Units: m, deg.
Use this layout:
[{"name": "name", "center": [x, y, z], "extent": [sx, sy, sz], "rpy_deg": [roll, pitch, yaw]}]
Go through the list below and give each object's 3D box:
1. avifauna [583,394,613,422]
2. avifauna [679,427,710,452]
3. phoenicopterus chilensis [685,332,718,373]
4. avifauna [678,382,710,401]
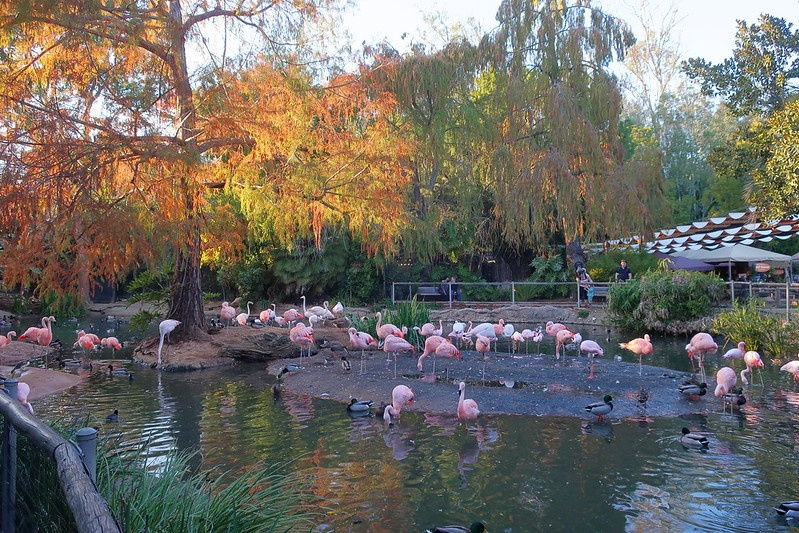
[{"name": "avifauna", "center": [4.543, 3.195, 17.254], "extent": [0.682, 0.621, 0.388], "rpy_deg": [0, -2, 0]}, {"name": "avifauna", "center": [6.100, 3.646, 15.808], "extent": [0.291, 0.382, 0.528], "rpy_deg": [7, -2, -33]}, {"name": "phoenicopterus chilensis", "center": [8.134, 2.322, 20.616], "extent": [0.684, 1.310, 1.455], "rpy_deg": [3, 12, 21]}, {"name": "avifauna", "center": [7.087, 3.017, 18.383], "extent": [0.620, 0.440, 0.328], "rpy_deg": [2, 3, 10]}]
